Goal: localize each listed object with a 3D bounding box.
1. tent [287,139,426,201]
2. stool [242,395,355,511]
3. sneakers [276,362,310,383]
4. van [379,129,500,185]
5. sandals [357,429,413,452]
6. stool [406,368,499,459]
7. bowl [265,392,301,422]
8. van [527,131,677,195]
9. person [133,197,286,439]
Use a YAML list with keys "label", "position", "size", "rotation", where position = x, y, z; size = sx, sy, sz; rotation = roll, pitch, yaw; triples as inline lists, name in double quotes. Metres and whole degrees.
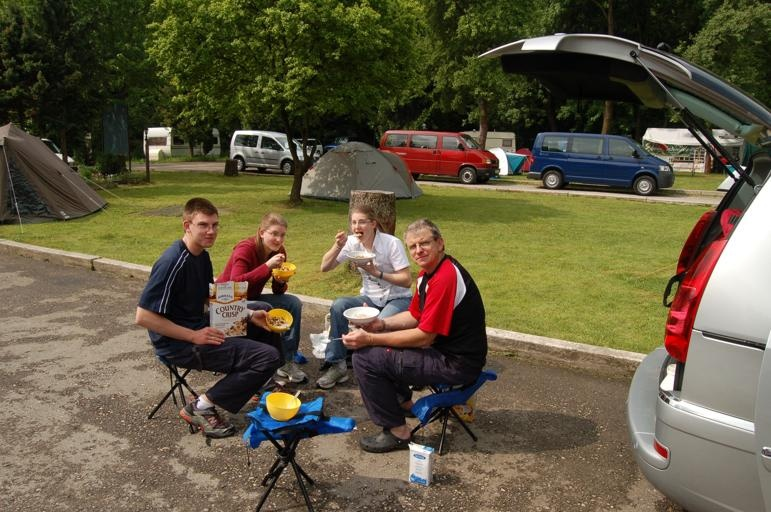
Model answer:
- label: "tent"
  position: [-0.843, -2.692, 18.844]
  size: [3.656, 1.951, 1.857]
  rotation: [0, 14, -8]
- label: "stool"
  position: [-0.714, 1.558, 4.865]
  size: [0.819, 0.943, 0.708]
  rotation: [1, 14, -4]
- label: "sneakers"
  position: [-1.045, 1.298, 6.482]
  size: [0.373, 0.193, 0.177]
  rotation: [-3, -3, 32]
- label: "van"
  position: [2.565, -4.564, 27.062]
  size: [5.217, 2.131, 2.569]
  rotation: [3, 10, 23]
- label: "sandals"
  position: [-0.015, 1.688, 5.393]
  size: [0.377, 0.161, 0.209]
  rotation: [3, 0, -1]
- label: "stool"
  position: [0.586, 1.426, 5.568]
  size: [0.831, 0.839, 0.623]
  rotation: [6, 6, 17]
- label: "bowl"
  position: [-0.824, 1.198, 4.643]
  size: [0.223, 0.107, 0.223]
  rotation: [12, 18, -4]
- label: "van"
  position: [8.813, -3.781, 24.044]
  size: [5.791, 2.357, 2.595]
  rotation: [4, 14, 29]
- label: "person"
  position: [-1.673, 0.592, 5.539]
  size: [1.154, 2.187, 0.614]
  rotation: [6, 14, 17]
